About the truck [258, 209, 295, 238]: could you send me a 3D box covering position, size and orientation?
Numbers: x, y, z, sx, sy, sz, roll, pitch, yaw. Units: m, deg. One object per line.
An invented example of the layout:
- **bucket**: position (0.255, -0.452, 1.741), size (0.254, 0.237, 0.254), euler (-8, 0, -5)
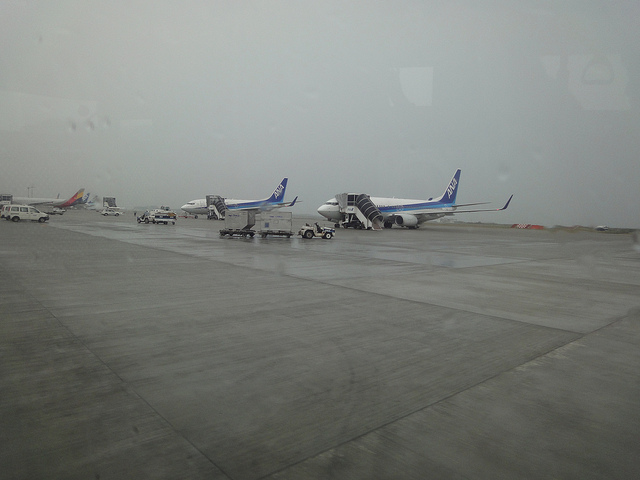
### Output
- **truck**: position (-3.268, -1.337, 34.199), size (3.675, 2.580, 2.215), euler (0, 1, -5)

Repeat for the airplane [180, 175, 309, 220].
- **airplane**: position (-13.778, -6.976, 75.007), size (17.945, 7.630, 18.408), euler (1, -5, -1)

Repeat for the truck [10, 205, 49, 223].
- **truck**: position (-29.951, -2.646, 46.928), size (3.499, 1.696, 1.868), euler (-3, 6, -19)

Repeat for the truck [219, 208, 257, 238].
- **truck**: position (-6.271, -1.376, 34.320), size (2.740, 2.022, 1.911), euler (-1, 2, 5)
